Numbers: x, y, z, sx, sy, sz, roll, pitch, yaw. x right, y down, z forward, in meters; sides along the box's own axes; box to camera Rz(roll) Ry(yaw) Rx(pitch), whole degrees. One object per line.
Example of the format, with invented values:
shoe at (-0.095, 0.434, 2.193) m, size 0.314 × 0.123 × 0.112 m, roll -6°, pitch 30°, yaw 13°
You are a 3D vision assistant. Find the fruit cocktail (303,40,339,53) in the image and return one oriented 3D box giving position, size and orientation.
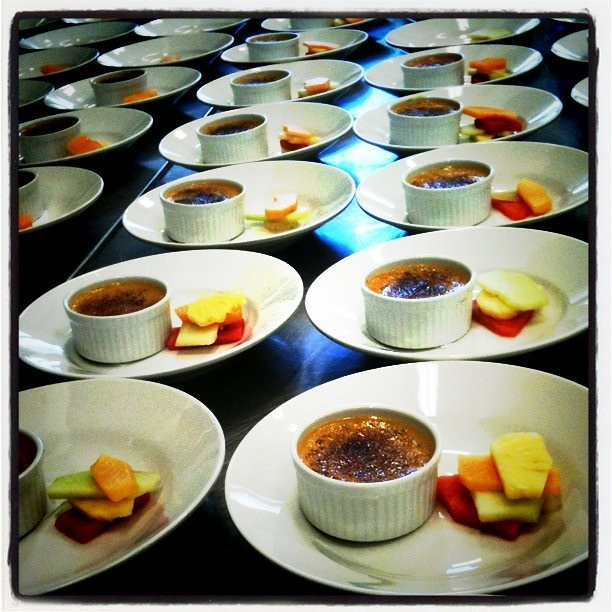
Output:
fruit cocktail at (0.029, -0.685, 1.641) m, size 0.069 × 0.021 × 0.069 m, roll 25°, pitch 30°, yaw 16°

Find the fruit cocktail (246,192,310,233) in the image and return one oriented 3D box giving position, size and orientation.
fruit cocktail at (-0.044, -0.164, 1.014) m, size 0.084 × 0.027 × 0.081 m, roll -29°, pitch 29°, yaw -20°

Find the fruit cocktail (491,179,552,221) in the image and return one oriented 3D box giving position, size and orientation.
fruit cocktail at (0.336, -0.155, 0.963) m, size 0.088 × 0.027 × 0.084 m, roll 6°, pitch 39°, yaw 33°

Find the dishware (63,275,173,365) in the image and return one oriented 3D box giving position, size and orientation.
dishware at (-0.227, 0.023, 0.774) m, size 0.128 × 0.062 × 0.112 m, roll 3°, pitch 30°, yaw 7°

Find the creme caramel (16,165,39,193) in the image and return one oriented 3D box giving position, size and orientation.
creme caramel at (-0.392, -0.181, 0.873) m, size 0.023 × 0.023 × 0.083 m, roll -13°, pitch 28°, yaw -17°

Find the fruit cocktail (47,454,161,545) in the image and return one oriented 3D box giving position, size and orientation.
fruit cocktail at (-0.175, 0.172, 0.546) m, size 0.092 × 0.029 × 0.080 m, roll 8°, pitch 40°, yaw 12°

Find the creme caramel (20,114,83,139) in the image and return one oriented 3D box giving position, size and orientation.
creme caramel at (-0.408, -0.290, 0.993) m, size 0.070 × 0.026 × 0.062 m, roll -30°, pitch 33°, yaw -33°

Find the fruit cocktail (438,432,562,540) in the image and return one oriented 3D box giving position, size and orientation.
fruit cocktail at (0.169, 0.151, 0.530) m, size 0.094 × 0.068 × 0.073 m, roll -18°, pitch 32°, yaw -26°

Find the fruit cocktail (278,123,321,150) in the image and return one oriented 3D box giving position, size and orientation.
fruit cocktail at (-0.021, -0.331, 1.232) m, size 0.085 × 0.035 × 0.061 m, roll -6°, pitch 37°, yaw -15°

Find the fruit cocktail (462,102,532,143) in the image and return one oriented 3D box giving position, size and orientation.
fruit cocktail at (0.354, -0.345, 1.173) m, size 0.088 × 0.040 × 0.101 m, roll -13°, pitch 20°, yaw -7°

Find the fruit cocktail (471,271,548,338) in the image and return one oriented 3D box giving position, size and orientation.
fruit cocktail at (0.247, -0.005, 0.763) m, size 0.091 × 0.049 × 0.082 m, roll -21°, pitch 33°, yaw -32°

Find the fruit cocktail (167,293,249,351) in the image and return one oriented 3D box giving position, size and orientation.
fruit cocktail at (-0.119, 0.022, 0.746) m, size 0.099 × 0.060 × 0.061 m, roll -8°, pitch 29°, yaw -10°

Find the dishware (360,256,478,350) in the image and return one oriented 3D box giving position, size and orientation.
dishware at (0.135, -0.005, 0.756) m, size 0.137 × 0.075 × 0.121 m, roll -8°, pitch 28°, yaw -10°

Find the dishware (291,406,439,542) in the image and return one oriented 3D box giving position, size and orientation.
dishware at (0.053, 0.146, 0.541) m, size 0.117 × 0.078 × 0.109 m, roll 13°, pitch 31°, yaw 27°
